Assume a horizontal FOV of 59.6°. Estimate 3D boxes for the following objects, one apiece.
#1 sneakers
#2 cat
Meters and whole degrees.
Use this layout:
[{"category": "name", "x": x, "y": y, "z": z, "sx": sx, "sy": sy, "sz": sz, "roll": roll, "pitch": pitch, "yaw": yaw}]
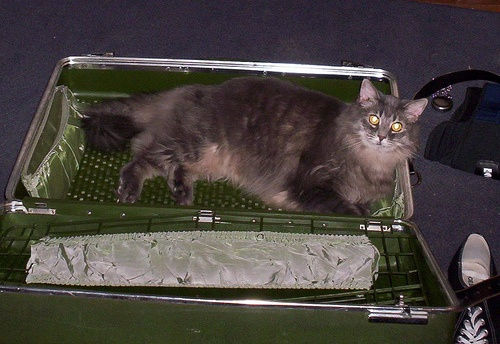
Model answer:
[{"category": "sneakers", "x": 1.052, "y": 0.540, "z": 2.065, "sx": 0.202, "sy": 0.219, "sz": 0.627, "roll": -1, "pitch": 42, "yaw": 30}, {"category": "cat", "x": 0.020, "y": -0.152, "z": 2.267, "sx": 1.411, "sy": 0.687, "sz": 0.801, "roll": 3, "pitch": 44, "yaw": 1}]
